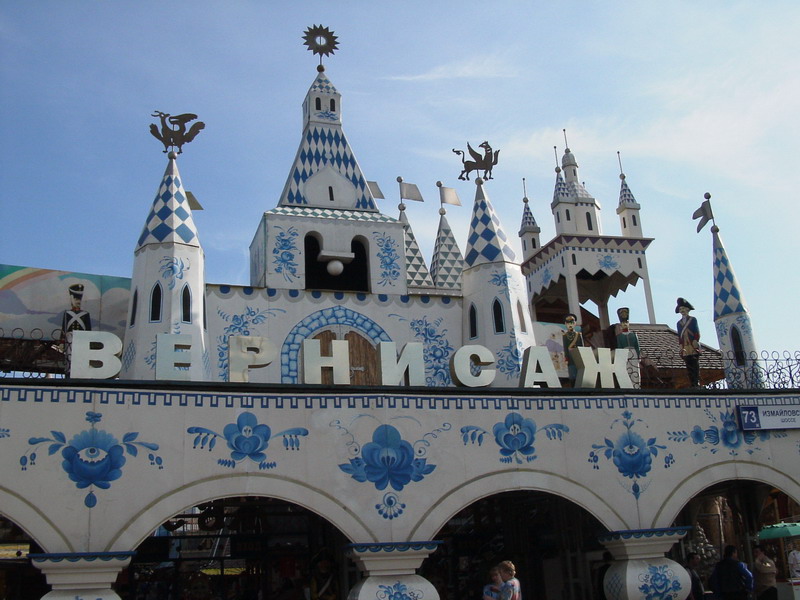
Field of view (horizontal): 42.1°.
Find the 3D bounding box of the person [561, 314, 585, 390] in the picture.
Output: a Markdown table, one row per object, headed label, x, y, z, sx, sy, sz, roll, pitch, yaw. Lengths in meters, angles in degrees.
| label | x | y | z | sx | sy | sz | roll | pitch | yaw |
| --- | --- | --- | --- | --- | --- | --- | --- | --- | --- |
| person | 3.381 | 0.936 | 20.182 | 0.326 | 1.580 | 1.020 | -3 | -16 | 9 |
